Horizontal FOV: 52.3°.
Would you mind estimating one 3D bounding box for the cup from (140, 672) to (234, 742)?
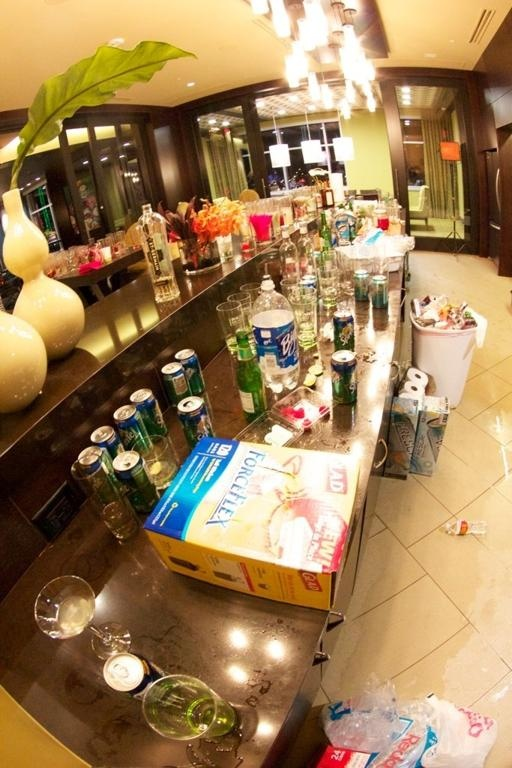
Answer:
[{"bbox_3d":[-0.110,0.536,0.938,0.126,0.125,0.188,4,-17,10],"label":"cup"}]

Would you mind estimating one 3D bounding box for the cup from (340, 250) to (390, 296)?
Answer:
[{"bbox_3d":[0.537,-0.572,2.617,0.170,0.088,0.256,-19,29,-31],"label":"cup"}]

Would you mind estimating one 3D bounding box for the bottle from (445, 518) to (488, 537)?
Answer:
[{"bbox_3d":[0.849,0.572,2.087,0.121,0.040,0.066,3,33,6],"label":"bottle"}]

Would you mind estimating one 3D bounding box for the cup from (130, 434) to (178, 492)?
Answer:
[{"bbox_3d":[-0.243,0.202,1.409,0.121,0.139,0.134,-5,32,4],"label":"cup"}]

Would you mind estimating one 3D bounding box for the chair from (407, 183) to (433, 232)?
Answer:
[{"bbox_3d":[2.182,-2.395,7.004,0.287,0.599,0.232,-4,26,19],"label":"chair"}]

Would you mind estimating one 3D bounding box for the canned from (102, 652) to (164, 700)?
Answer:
[{"bbox_3d":[-0.220,0.525,0.927,0.060,0.060,0.103,28,2,8],"label":"canned"}]
